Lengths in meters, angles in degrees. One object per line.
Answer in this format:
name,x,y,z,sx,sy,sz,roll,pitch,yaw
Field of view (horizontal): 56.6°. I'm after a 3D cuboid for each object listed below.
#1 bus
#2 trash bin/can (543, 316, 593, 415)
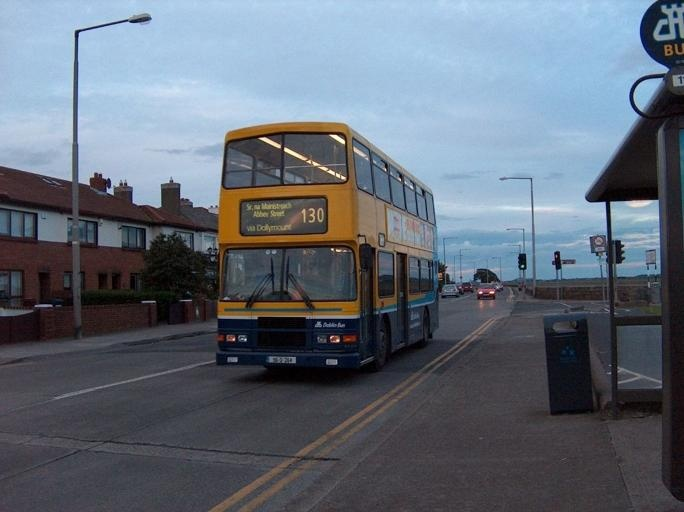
bus,0.683,0.019,16.511,3.328,4.836,10.050,-1,-1,25
trash bin/can,3.307,1.583,9.262,0.660,1.512,0.474,-1,0,18
